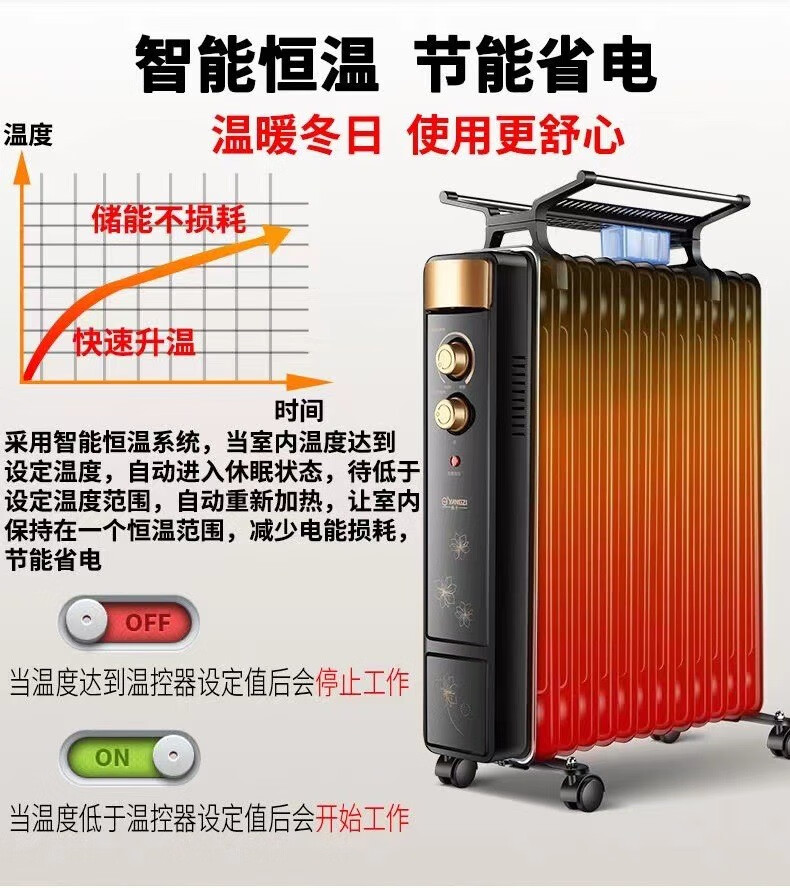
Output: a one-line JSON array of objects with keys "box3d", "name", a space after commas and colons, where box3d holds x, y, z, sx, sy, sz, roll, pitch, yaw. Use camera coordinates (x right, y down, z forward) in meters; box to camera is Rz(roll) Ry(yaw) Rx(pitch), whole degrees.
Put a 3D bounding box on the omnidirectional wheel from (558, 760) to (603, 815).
[{"box3d": [0.416, 0.751, 2.459, 0.093, 0.087, 0.140, 4, 2, 11], "name": "omnidirectional wheel"}]
